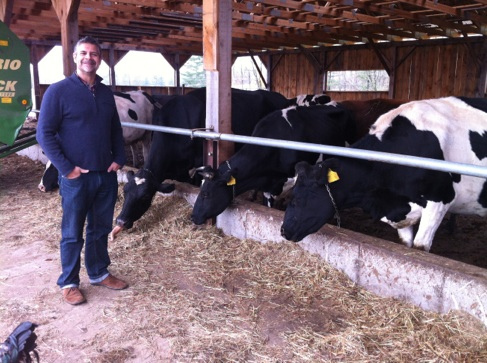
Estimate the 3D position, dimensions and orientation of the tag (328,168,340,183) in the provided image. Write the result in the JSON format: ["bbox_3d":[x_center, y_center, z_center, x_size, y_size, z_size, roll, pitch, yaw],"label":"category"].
[{"bbox_3d":[0.764,-0.061,3.333,0.061,0.112,0.066,-30,23,32],"label":"tag"}]

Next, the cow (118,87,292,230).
[{"bbox_3d":[-0.392,-0.512,6.074,3.392,1.882,0.918,-21,27,-29],"label":"cow"}]

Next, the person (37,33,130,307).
[{"bbox_3d":[-1.246,-0.088,3.137,0.681,2.065,0.464,-12,21,-36],"label":"person"}]

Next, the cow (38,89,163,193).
[{"bbox_3d":[-2.342,-0.704,6.761,0.739,1.578,2.836,-1,17,30],"label":"cow"}]
